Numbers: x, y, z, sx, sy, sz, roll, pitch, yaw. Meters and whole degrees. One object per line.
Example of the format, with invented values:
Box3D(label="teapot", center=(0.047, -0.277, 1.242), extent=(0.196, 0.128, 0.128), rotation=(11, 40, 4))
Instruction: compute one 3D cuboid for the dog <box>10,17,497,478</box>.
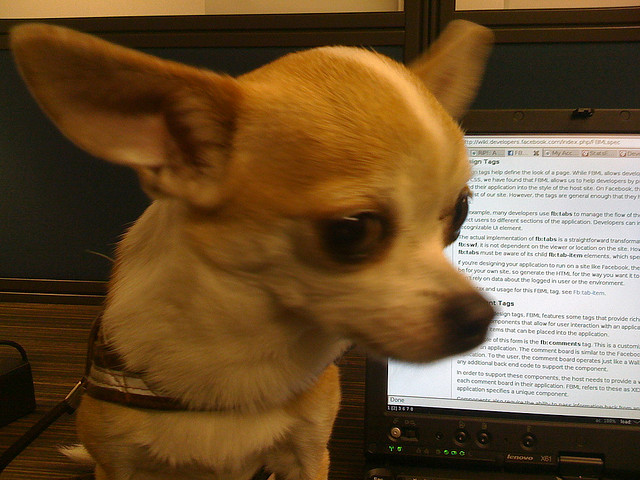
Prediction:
Box3D(label="dog", center=(-0.064, 0.023, 0.890), extent=(0.526, 0.558, 0.406), rotation=(-3, 47, 2))
